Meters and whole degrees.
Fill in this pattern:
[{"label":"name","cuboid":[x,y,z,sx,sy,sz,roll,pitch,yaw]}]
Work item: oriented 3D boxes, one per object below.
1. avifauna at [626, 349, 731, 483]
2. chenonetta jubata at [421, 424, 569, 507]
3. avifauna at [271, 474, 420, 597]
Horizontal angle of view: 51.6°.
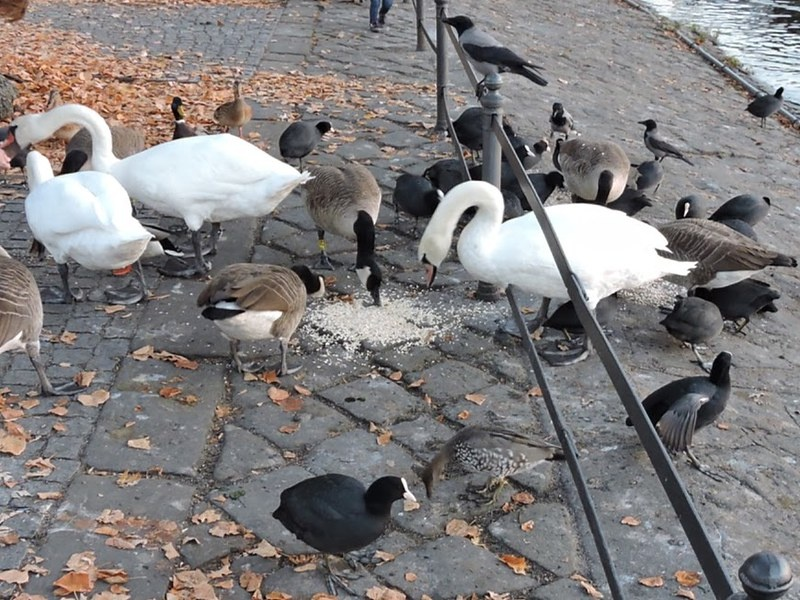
[{"label":"avifauna","cuboid":[2.278,0.777,6.368,0.794,0.614,0.515,-16,50,-31]},{"label":"chenonetta jubata","cuboid":[0.711,1.176,5.960,1.196,0.419,0.468,-18,20,-1]},{"label":"avifauna","cuboid":[-0.459,1.458,5.652,1.225,0.724,0.604,11,25,7]}]
